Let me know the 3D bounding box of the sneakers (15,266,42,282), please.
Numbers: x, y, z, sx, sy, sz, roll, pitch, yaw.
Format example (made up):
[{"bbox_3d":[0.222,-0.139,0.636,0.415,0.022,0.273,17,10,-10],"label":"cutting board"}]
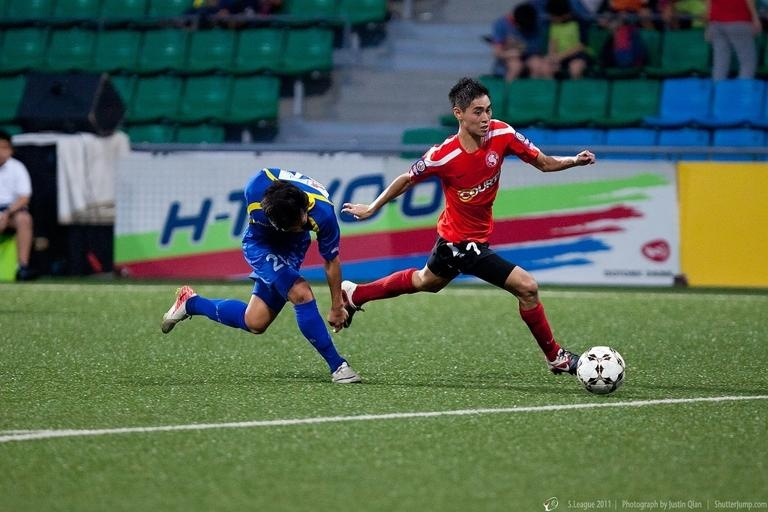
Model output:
[{"bbox_3d":[-4.283,0.208,12.339,0.258,0.160,0.139,-11,8,-2],"label":"sneakers"}]

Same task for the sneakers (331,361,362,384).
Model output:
[{"bbox_3d":[-0.323,0.993,8.637,0.237,0.127,0.138,0,1,21],"label":"sneakers"}]

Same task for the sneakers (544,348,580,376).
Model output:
[{"bbox_3d":[1.524,0.910,8.684,0.228,0.250,0.350,-2,7,-14],"label":"sneakers"}]

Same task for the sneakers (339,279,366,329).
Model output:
[{"bbox_3d":[-0.298,0.414,9.248,0.208,0.441,0.159,5,9,14],"label":"sneakers"}]

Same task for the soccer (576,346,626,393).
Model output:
[{"bbox_3d":[1.768,0.934,8.471,0.393,0.371,0.365,1,52,6],"label":"soccer"}]
